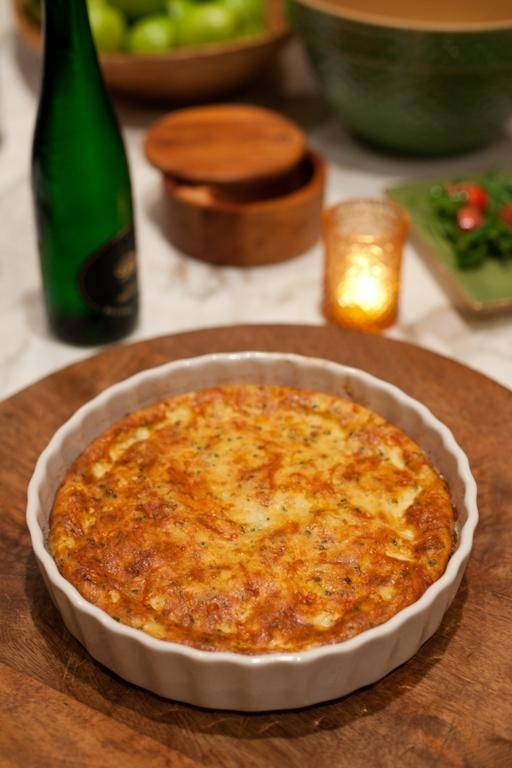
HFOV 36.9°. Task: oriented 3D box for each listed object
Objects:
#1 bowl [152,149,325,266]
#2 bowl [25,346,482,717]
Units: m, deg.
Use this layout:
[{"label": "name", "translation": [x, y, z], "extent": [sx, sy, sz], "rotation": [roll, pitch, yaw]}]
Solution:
[{"label": "bowl", "translation": [-0.047, -0.548, 2.282], "extent": [0.485, 0.189, 0.486], "rotation": [2, 40, -1]}, {"label": "bowl", "translation": [-0.001, 0.174, 1.331], "extent": [0.748, 0.198, 0.750], "rotation": [-1, 44, 1]}]
